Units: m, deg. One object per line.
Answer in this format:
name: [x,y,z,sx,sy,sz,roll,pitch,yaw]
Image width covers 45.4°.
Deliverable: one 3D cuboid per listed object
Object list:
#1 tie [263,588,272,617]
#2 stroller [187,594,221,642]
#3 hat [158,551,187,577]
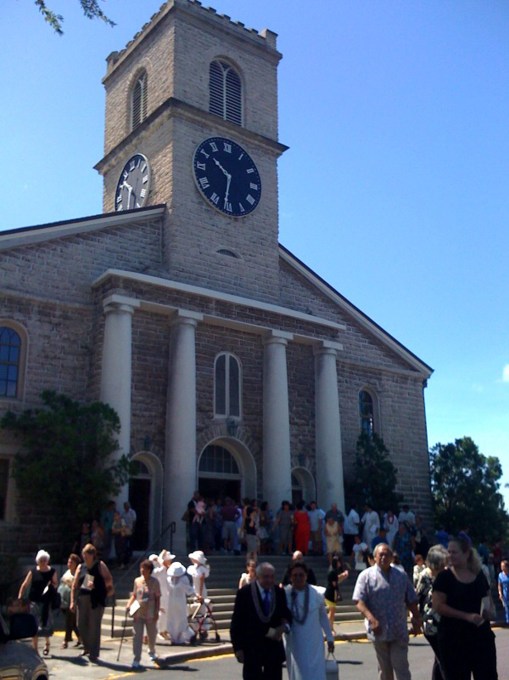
tie: [0.100,2.126,4.918,0.066,0.171,0.147,1,-11,1]
stroller: [-1.008,5.228,11.371,0.686,1.126,0.799,5,-32,-12]
hat: [-1.655,4.212,11.489,0.402,0.534,0.152,-16,-18,27]
